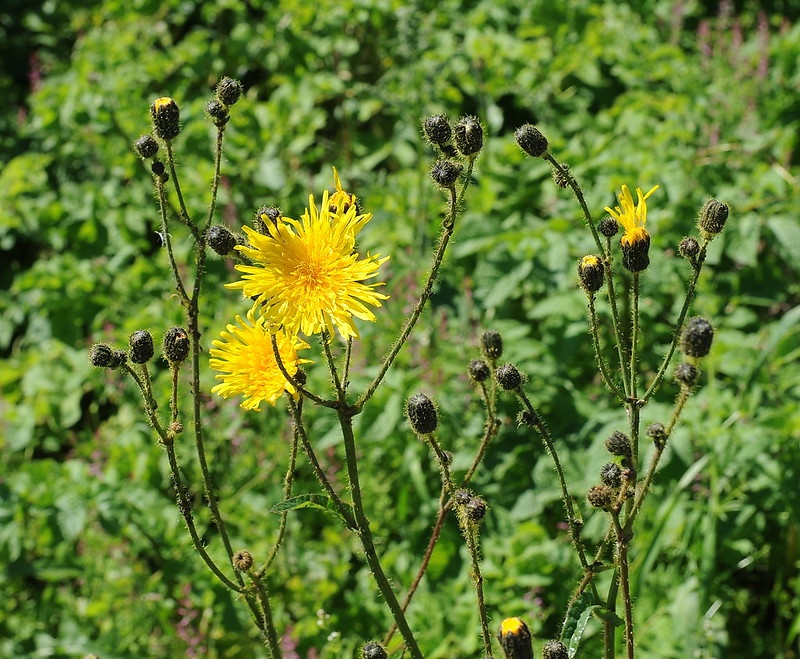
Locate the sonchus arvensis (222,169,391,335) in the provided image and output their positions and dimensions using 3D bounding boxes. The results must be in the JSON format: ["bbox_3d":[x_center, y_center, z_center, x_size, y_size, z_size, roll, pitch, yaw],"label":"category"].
[{"bbox_3d":[-0.311,-0.260,4.138,0.424,0.207,0.475,-23,-14,13],"label":"sonchus arvensis"}]

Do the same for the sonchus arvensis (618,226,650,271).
[{"bbox_3d":[0.805,-0.269,4.150,0.109,0.158,0.110,-9,21,6],"label":"sonchus arvensis"}]

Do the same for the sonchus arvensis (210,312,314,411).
[{"bbox_3d":[-0.484,0.124,4.174,0.325,0.339,0.155,-3,-14,29],"label":"sonchus arvensis"}]
